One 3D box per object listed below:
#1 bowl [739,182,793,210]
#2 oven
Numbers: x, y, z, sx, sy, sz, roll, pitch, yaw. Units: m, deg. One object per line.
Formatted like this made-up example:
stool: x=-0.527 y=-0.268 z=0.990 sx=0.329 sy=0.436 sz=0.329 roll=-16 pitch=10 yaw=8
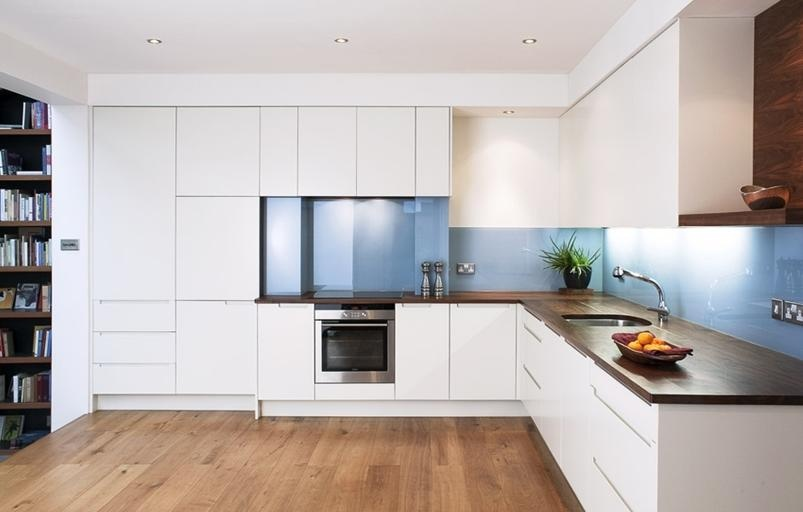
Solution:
bowl: x=2.424 y=-0.400 z=3.835 sx=0.272 sy=0.133 sz=0.236 roll=-1 pitch=-3 yaw=31
oven: x=-0.422 y=0.862 z=5.996 sx=1.161 sy=0.983 sz=0.723 roll=0 pitch=-4 yaw=1
